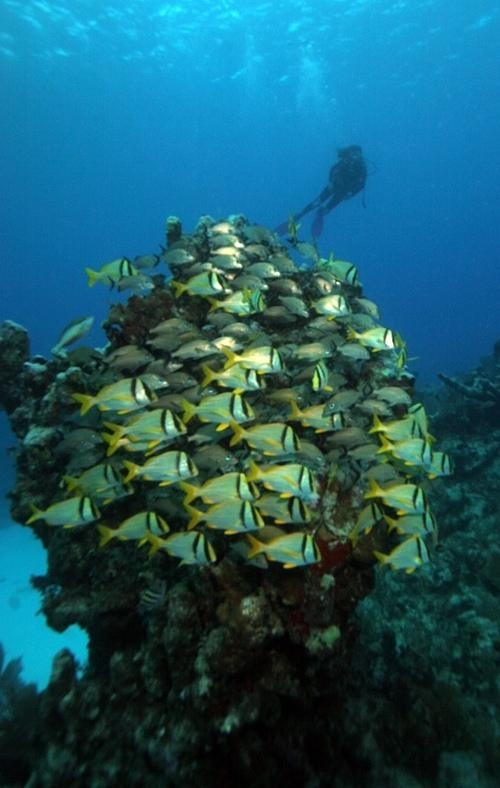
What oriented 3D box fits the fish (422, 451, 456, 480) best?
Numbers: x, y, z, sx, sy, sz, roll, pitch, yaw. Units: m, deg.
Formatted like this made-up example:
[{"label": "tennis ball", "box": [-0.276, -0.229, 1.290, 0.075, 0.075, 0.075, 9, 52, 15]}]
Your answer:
[{"label": "fish", "box": [2.786, 1.059, 9.461, 0.384, 0.524, 0.678, 4, 13, 15]}]
